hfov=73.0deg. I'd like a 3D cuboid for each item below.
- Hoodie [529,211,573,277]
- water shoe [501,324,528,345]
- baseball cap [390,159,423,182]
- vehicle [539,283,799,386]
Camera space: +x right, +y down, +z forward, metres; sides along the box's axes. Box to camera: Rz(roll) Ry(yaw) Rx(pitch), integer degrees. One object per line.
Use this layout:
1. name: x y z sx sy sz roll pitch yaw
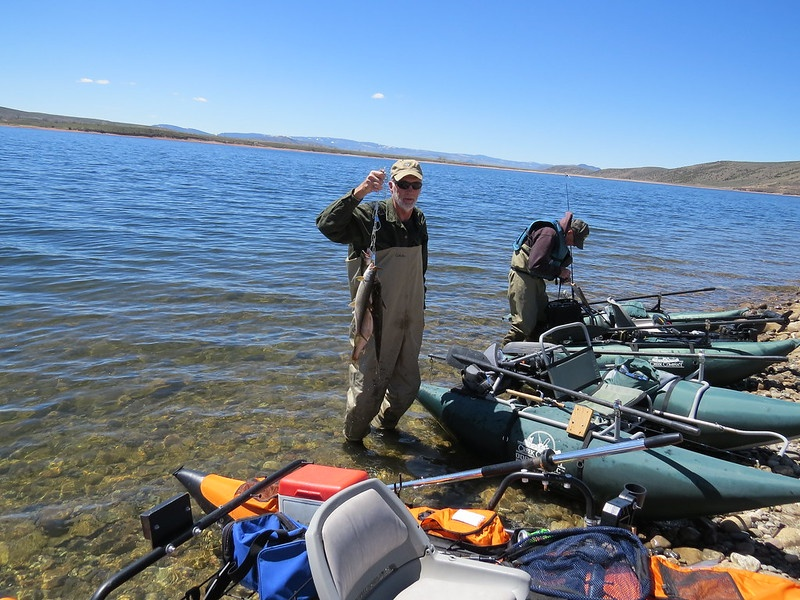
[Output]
1. Hoodie: 2.259 -0.871 8.493 0.784 0.969 1.195 12 11 8
2. water shoe: 1.794 0.556 8.521 0.341 0.306 0.189 22 21 -6
3. baseball cap: 0.060 -1.287 5.350 0.313 0.217 0.326 6 16 -3
4. vehicle: 3.940 0.675 8.168 3.258 0.834 2.237 2 11 31
